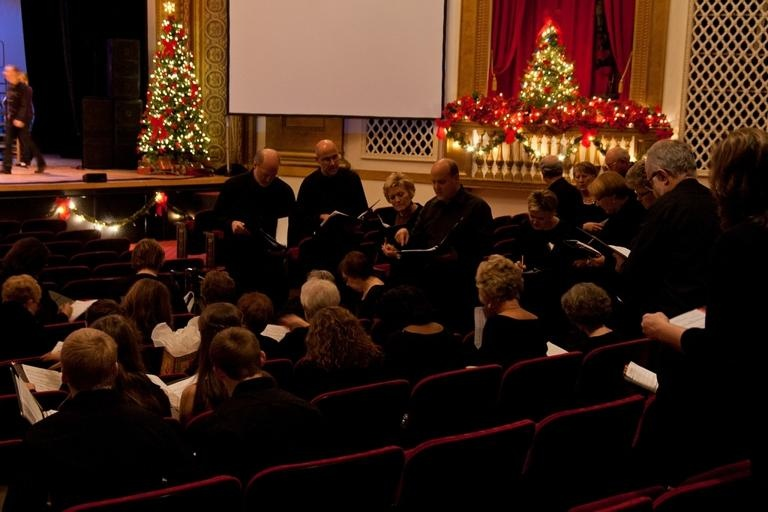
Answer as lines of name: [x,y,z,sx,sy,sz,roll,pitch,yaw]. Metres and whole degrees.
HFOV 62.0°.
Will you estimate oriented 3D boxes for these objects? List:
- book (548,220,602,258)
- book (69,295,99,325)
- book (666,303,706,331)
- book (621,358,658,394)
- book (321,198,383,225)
book: [1.613,-0.123,5.452,0.153,0.215,0.548,35,1,-25]
book: [-2.297,0.417,4.852,0.157,0.205,0.219,13,-6,15]
book: [1.410,0.295,2.960,0.109,0.029,0.116,-18,19,-3]
book: [1.408,0.675,3.578,0.215,0.128,0.052,32,-14,2]
book: [-0.395,-0.448,6.968,0.450,0.172,0.338,-3,-8,-36]
